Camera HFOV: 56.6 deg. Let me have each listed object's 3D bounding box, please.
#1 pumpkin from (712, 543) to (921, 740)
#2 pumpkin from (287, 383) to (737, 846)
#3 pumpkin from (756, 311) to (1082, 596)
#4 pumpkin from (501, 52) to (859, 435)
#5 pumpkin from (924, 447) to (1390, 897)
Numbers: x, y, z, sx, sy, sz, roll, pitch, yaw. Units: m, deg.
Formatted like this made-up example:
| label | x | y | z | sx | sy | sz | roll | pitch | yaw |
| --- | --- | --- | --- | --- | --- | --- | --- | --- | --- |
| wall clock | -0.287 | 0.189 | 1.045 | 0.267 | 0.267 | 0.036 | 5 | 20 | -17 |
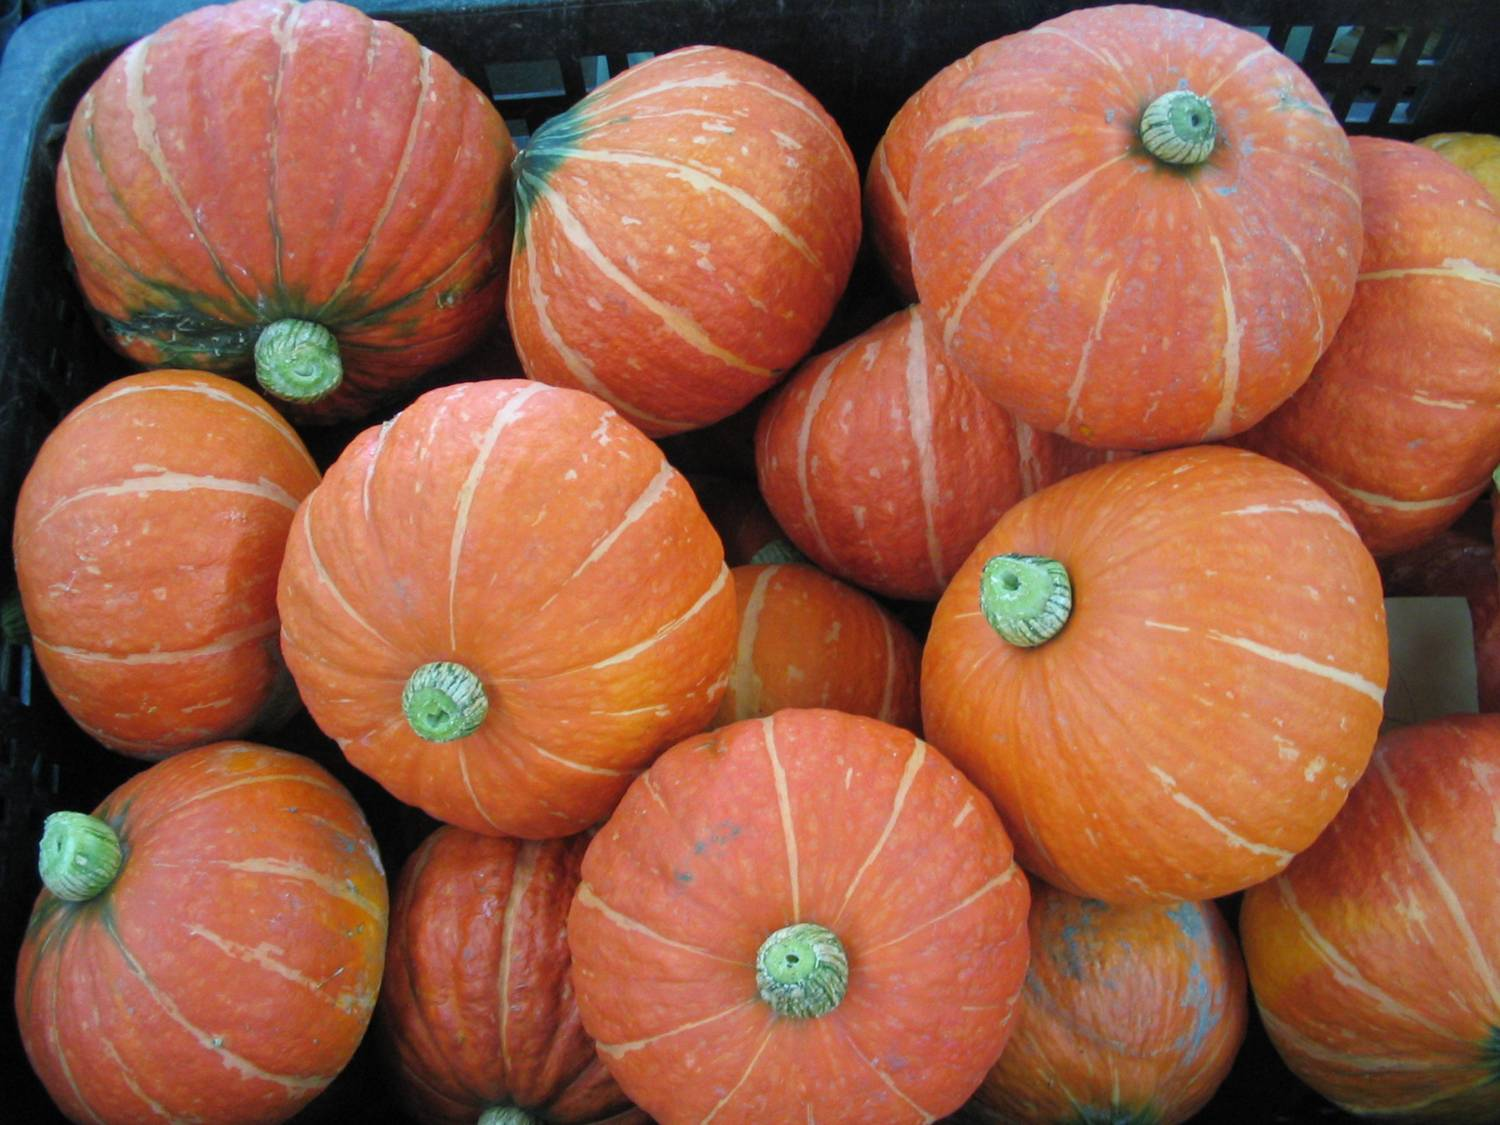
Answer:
| label | x | y | z | sx | sy | sz | roll | pitch | yaw |
| --- | --- | --- | --- | --- | --- | --- | --- | --- | --- |
| pumpkin | 0.114 | 0.172 | 2.441 | 0.272 | 0.285 | 0.310 | 25 | 87 | -5 |
| pumpkin | -0.359 | 0.065 | 2.055 | 0.666 | 0.430 | 0.507 | -10 | 54 | -4 |
| pumpkin | 0.265 | -0.251 | 2.316 | 0.417 | 0.514 | 0.465 | 3 | 14 | 7 |
| pumpkin | -0.058 | -0.572 | 2.375 | 0.523 | 0.402 | 0.590 | -22 | 38 | 37 |
| pumpkin | 0.580 | 0.156 | 1.932 | 0.561 | 0.375 | 0.692 | 1 | 83 | 26 |
